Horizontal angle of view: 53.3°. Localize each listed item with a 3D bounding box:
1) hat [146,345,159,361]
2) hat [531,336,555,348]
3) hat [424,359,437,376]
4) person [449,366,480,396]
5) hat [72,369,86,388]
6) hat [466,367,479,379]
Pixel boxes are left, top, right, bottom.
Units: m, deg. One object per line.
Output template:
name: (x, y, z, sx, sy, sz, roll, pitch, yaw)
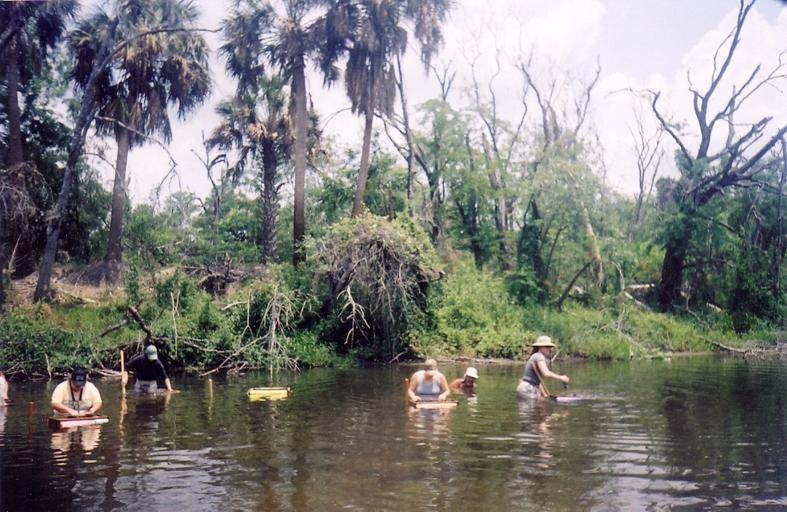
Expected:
hat: (-10.452, 4.171, 34.025, 0.470, 0.414, 0.725, 5, 25, -43)
hat: (6.814, 3.963, 35.904, 0.925, 0.391, 1.037, -1, -21, 4)
hat: (1.537, 4.537, 31.984, 0.516, 0.684, 0.844, -1, -15, -3)
person: (3.238, 5.660, 34.926, 1.192, 1.021, 0.986, 27, -15, 3)
hat: (-11.839, 4.660, 29.633, 0.638, 0.539, 1.084, 4, 6, -18)
hat: (3.541, 5.227, 34.908, 0.385, 0.495, 0.818, -5, -14, 19)
